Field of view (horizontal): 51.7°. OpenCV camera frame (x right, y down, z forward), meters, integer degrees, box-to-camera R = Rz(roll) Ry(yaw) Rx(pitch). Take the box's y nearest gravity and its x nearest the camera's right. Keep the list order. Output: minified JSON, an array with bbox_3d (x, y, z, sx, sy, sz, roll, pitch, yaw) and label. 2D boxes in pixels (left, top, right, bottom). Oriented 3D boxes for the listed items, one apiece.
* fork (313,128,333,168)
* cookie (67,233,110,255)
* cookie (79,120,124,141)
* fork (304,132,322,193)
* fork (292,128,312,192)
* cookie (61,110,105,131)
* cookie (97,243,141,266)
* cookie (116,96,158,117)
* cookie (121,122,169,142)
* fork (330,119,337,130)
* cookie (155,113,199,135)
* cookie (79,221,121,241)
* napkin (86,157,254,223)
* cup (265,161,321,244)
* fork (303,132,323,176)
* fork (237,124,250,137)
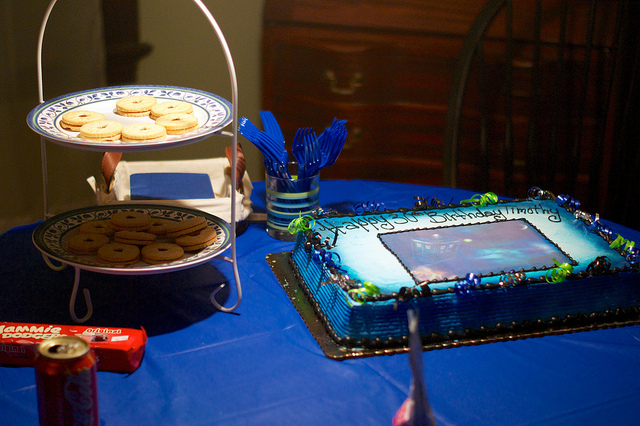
[{"bbox_3d":[0.008,-0.239,2.463,0.037,0.189,0.030,14,3,-2],"label":"fork"},{"bbox_3d":[-0.725,0.095,2.052,0.083,0.018,0.079,-10,26,-33],"label":"cookie"},{"bbox_3d":[-0.650,-0.240,1.962,0.132,0.037,0.127,-14,31,-25],"label":"cookie"},{"bbox_3d":[-0.035,-0.181,2.427,0.045,0.228,0.028,9,23,20],"label":"fork"},{"bbox_3d":[-0.067,-0.207,2.470,0.054,0.279,0.035,4,0,-28],"label":"fork"},{"bbox_3d":[-0.724,-0.286,1.999,0.088,0.021,0.081,8,23,9],"label":"cookie"},{"bbox_3d":[-0.617,0.124,2.020,0.084,0.018,0.084,19,22,33],"label":"cookie"},{"bbox_3d":[-0.592,-0.340,2.130,0.121,0.035,0.103,-5,28,-10],"label":"cookie"},{"bbox_3d":[-0.520,-0.235,1.954,0.130,0.026,0.132,-4,28,-8],"label":"cookie"},{"bbox_3d":[0.048,-0.331,2.492,0.012,0.013,0.041,-1,51,48],"label":"fork"},{"bbox_3d":[-0.431,-0.278,2.017,0.094,0.020,0.085,1,22,3],"label":"cookie"},{"bbox_3d":[-0.718,0.051,2.135,0.087,0.018,0.079,6,19,8],"label":"cookie"},{"bbox_3d":[-0.536,-0.117,2.573,0.454,0.128,0.347,0,17,-6],"label":"napkin"},{"bbox_3d":[-0.089,-0.044,2.476,0.298,0.303,0.289,-1,14,0],"label":"cup"},{"bbox_3d":[-0.031,-0.212,2.427,0.044,0.190,0.032,-1,-1,27],"label":"fork"},{"bbox_3d":[-0.280,-0.303,2.419,0.040,0.034,0.063,-3,29,-6],"label":"fork"}]
